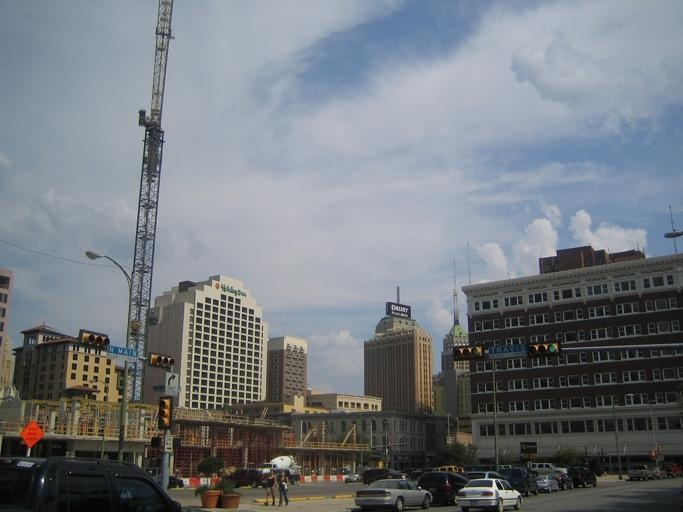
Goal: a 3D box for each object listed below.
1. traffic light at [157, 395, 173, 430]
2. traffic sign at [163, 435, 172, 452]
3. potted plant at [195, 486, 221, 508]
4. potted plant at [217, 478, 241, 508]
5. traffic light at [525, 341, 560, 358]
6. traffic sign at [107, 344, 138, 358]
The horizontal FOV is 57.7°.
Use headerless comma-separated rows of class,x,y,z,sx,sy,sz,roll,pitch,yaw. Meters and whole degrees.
traffic light,-8.286,7.425,29.240,0.599,1.531,0.924,4,-18,-18
traffic sign,-8.202,8.924,29.388,0.382,0.765,0.417,8,-19,-30
potted plant,-7.267,13.413,34.304,1.040,0.777,1.061,8,-22,-20
potted plant,-6.319,13.386,34.626,1.154,1.482,0.858,1,-17,-12
traffic light,13.108,6.013,40.147,0.902,0.994,2.784,7,-19,-27
traffic sign,-10.902,4.785,31.029,0.762,0.516,1.781,-10,-19,22
